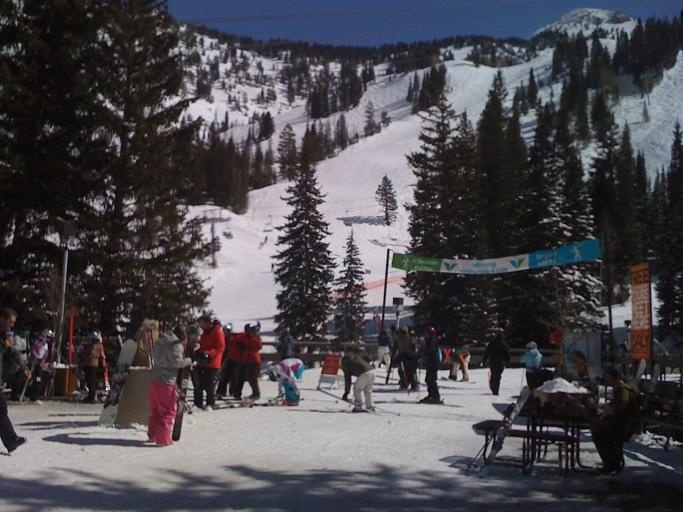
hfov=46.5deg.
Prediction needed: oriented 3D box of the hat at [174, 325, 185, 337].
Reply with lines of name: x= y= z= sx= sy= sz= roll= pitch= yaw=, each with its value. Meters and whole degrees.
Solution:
hat: x=-4.147 y=1.883 z=20.145 sx=0.220 sy=0.340 sz=0.299 roll=1 pitch=2 yaw=3

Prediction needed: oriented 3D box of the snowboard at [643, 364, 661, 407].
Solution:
snowboard: x=7.839 y=3.245 z=20.059 sx=0.137 sy=1.014 sz=0.157 roll=30 pitch=-21 yaw=-29

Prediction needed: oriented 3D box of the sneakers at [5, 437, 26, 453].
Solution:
sneakers: x=-7.044 y=4.009 z=17.089 sx=0.151 sy=0.205 sz=0.435 roll=-4 pitch=28 yaw=45

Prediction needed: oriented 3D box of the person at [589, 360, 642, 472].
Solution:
person: x=6.026 y=3.588 z=17.568 sx=1.107 sy=2.237 sz=0.571 roll=4 pitch=-9 yaw=-23

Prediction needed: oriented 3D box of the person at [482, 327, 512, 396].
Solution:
person: x=5.562 y=3.806 z=28.535 sx=0.843 sy=2.476 sz=0.546 roll=4 pitch=28 yaw=9

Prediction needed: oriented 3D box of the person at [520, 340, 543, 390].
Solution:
person: x=6.310 y=3.535 z=26.314 sx=0.630 sy=1.550 sz=1.541 roll=-2 pitch=-10 yaw=13

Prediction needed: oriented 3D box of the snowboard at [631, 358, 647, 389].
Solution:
snowboard: x=8.275 y=3.199 z=22.075 sx=0.132 sy=0.983 sz=0.127 roll=9 pitch=-7 yaw=45

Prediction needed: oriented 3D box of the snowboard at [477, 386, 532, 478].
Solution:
snowboard: x=3.910 y=4.221 z=19.055 sx=0.185 sy=1.880 sz=0.317 roll=23 pitch=-6 yaw=20

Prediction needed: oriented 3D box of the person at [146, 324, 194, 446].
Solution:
person: x=-4.083 y=3.034 z=18.637 sx=0.862 sy=2.625 sz=0.998 roll=2 pitch=-9 yaw=-17

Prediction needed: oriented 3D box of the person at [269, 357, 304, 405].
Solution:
person: x=-1.689 y=3.847 z=24.754 sx=0.955 sy=1.449 sz=1.028 roll=-5 pitch=0 yaw=-27

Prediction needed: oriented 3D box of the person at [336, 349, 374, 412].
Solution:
person: x=0.489 y=3.643 z=23.506 sx=0.991 sy=1.770 sz=0.731 roll=-3 pitch=-9 yaw=15

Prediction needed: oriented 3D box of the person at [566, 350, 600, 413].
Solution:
person: x=6.933 y=3.497 z=22.640 sx=0.511 sy=0.741 sz=1.765 roll=-13 pitch=21 yaw=22
